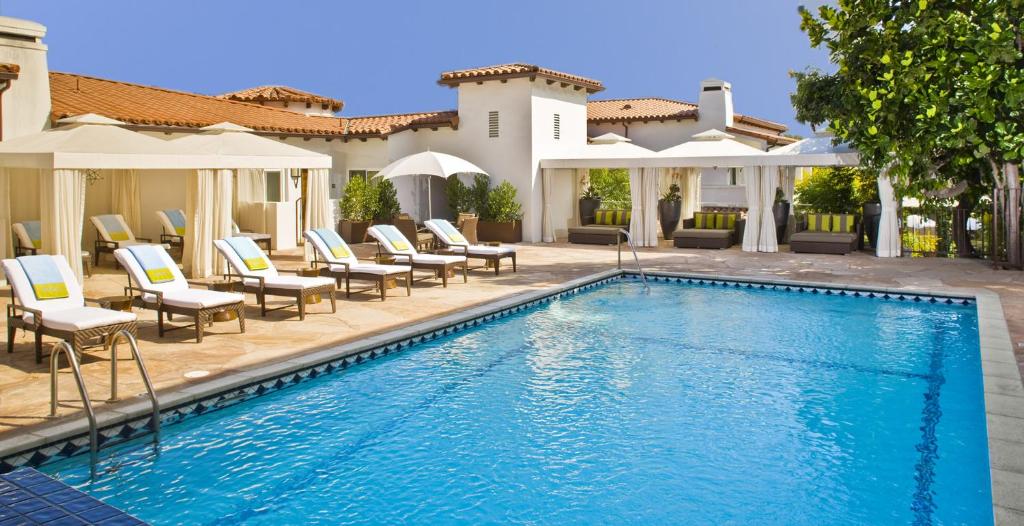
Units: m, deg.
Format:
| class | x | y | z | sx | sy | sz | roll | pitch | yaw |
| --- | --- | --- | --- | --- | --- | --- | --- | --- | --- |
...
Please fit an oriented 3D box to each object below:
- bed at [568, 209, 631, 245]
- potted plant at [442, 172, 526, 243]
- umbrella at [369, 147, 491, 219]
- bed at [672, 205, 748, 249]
| class | x | y | z | sx | sy | sz | roll | pitch | yaw |
| --- | --- | --- | --- | --- | --- | --- | --- | --- | --- |
| bed | 3.617 | -1.445 | 26.023 | 2.105 | 1.343 | 1.571 | 1 | 6 | 34 |
| potted plant | -0.927 | -2.177 | 25.460 | 3.920 | 2.773 | 1.738 | 1 | 2 | 27 |
| umbrella | -3.164 | -2.832 | 23.123 | 2.863 | 1.481 | 2.821 | 2 | 9 | 37 |
| bed | 7.754 | -1.319 | 25.168 | 1.799 | 1.384 | 3.123 | 1 | 5 | 32 |
